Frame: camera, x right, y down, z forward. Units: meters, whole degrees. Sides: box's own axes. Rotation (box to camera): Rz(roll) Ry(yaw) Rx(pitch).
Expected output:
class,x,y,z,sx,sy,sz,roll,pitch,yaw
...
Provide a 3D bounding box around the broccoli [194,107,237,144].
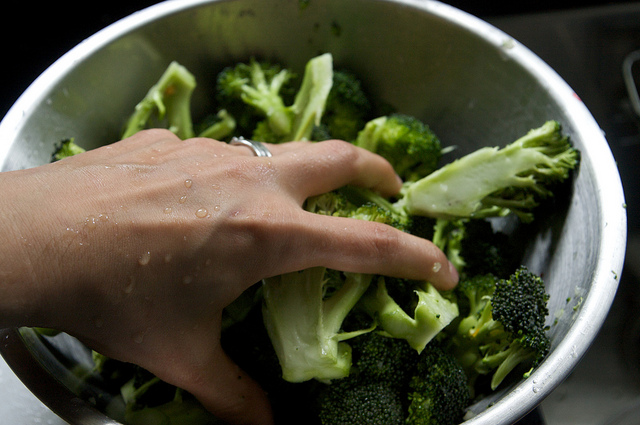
class,x,y,z,sx,sy,sz,roll,pitch,yaw
broccoli,-0.429,-0.317,2.230,0.189,0.163,0.062,-31,109,-33

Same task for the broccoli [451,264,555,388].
class,x,y,z,sx,sy,sz,roll,pitch,yaw
broccoli,0.580,0.384,1.898,0.344,0.278,0.334,-10,62,41

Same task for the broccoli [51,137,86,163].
class,x,y,z,sx,sy,sz,roll,pitch,yaw
broccoli,-0.871,-0.217,2.005,0.089,0.067,0.100,-2,69,24

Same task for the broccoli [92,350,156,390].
class,x,y,z,sx,sy,sz,roll,pitch,yaw
broccoli,-0.648,0.518,1.910,0.183,0.153,0.070,18,91,15

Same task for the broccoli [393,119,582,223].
class,x,y,z,sx,sy,sz,roll,pitch,yaw
broccoli,0.558,-0.120,1.865,0.466,0.278,0.245,-12,106,5

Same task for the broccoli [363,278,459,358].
class,x,y,z,sx,sy,sz,roll,pitch,yaw
broccoli,0.286,0.332,1.829,0.219,0.085,0.218,45,105,8

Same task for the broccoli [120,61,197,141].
class,x,y,z,sx,sy,sz,roll,pitch,yaw
broccoli,-0.597,-0.386,2.080,0.326,0.149,0.105,-38,113,12

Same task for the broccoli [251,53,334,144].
class,x,y,z,sx,sy,sz,roll,pitch,yaw
broccoli,-0.085,-0.376,2.062,0.209,0.113,0.428,41,124,30

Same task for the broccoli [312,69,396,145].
class,x,y,z,sx,sy,sz,roll,pitch,yaw
broccoli,0.072,-0.391,2.173,0.106,0.238,0.278,-10,40,-24

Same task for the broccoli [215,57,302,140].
class,x,y,z,sx,sy,sz,roll,pitch,yaw
broccoli,-0.216,-0.440,2.205,0.279,0.290,0.273,19,83,31

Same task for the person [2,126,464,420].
class,x,y,z,sx,sy,sz,roll,pitch,yaw
person,-0.296,0.159,1.734,1.149,0.517,0.856,4,82,1
